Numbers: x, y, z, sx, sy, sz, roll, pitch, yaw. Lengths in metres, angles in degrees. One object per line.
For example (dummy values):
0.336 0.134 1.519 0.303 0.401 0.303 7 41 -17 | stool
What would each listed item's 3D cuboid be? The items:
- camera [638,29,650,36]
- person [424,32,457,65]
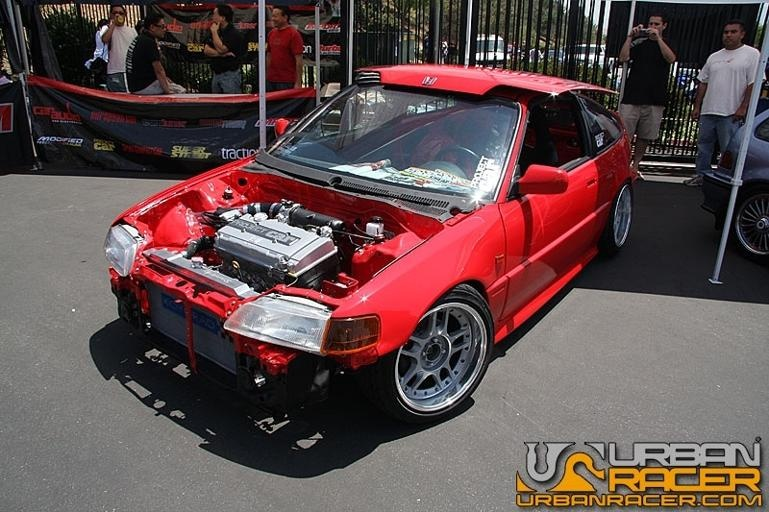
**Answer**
4.944 -4.304 8.549 0.175 0.072 0.180 22 54 42 | camera
1.251 -4.786 10.286 0.792 0.640 1.267 4 23 7 | person
